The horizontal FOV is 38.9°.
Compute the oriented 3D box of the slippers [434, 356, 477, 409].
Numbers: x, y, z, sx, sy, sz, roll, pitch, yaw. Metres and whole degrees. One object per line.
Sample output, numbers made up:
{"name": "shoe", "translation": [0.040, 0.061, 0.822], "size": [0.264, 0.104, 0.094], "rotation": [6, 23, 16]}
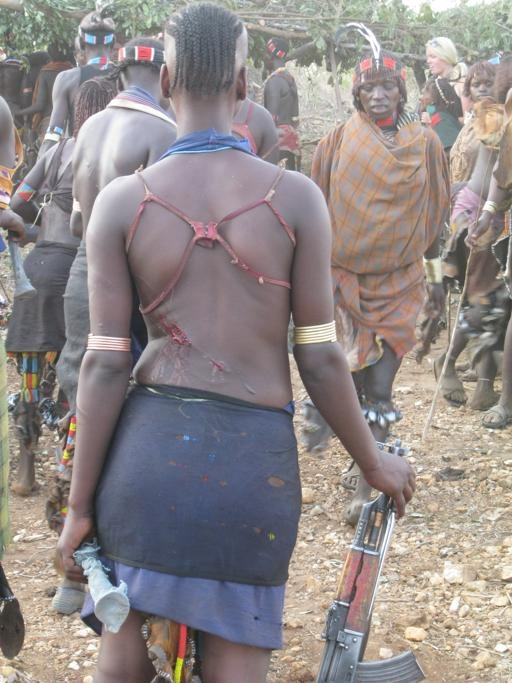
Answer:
{"name": "slippers", "translation": [1.374, 0.298, 5.138], "size": [0.171, 0.388, 0.113], "rotation": [-27, -2, 6]}
